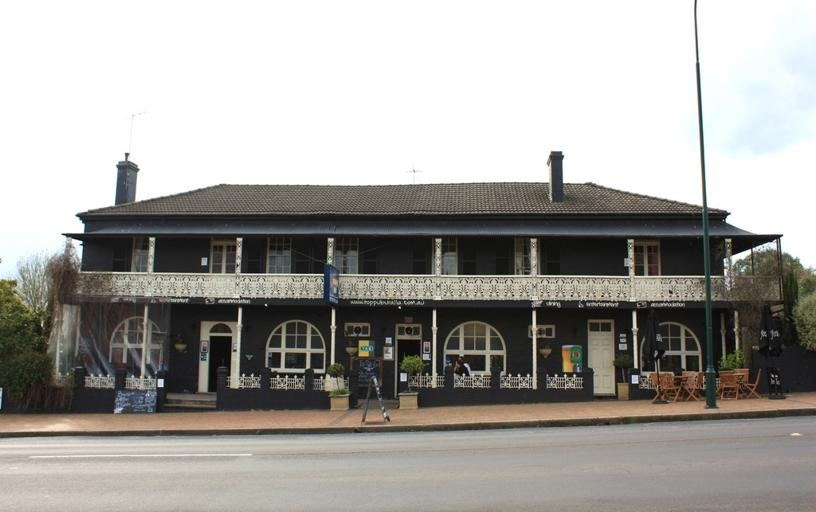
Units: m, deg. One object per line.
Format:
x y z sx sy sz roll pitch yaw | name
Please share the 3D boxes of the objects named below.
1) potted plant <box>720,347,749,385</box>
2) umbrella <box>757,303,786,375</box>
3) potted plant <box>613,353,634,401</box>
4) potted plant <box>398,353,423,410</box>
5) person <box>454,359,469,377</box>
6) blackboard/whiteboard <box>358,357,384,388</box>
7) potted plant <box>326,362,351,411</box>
13.619 4.442 39.715 0.905 1.236 1.175 -1 -9 34 | potted plant
14.569 3.363 38.020 0.903 2.615 2.156 -6 -13 21 | umbrella
9.251 5.083 40.473 0.787 2.159 2.460 -4 -12 12 | potted plant
0.106 5.233 39.315 0.991 2.344 2.134 -1 -12 0 | potted plant
2.288 4.761 40.468 0.531 1.491 0.539 -3 -6 12 | person
-1.613 5.165 41.766 1.387 1.327 0.141 1 -12 -5 | blackboard/whiteboard
-2.988 5.641 40.199 0.910 1.946 3.270 0 -12 -6 | potted plant
